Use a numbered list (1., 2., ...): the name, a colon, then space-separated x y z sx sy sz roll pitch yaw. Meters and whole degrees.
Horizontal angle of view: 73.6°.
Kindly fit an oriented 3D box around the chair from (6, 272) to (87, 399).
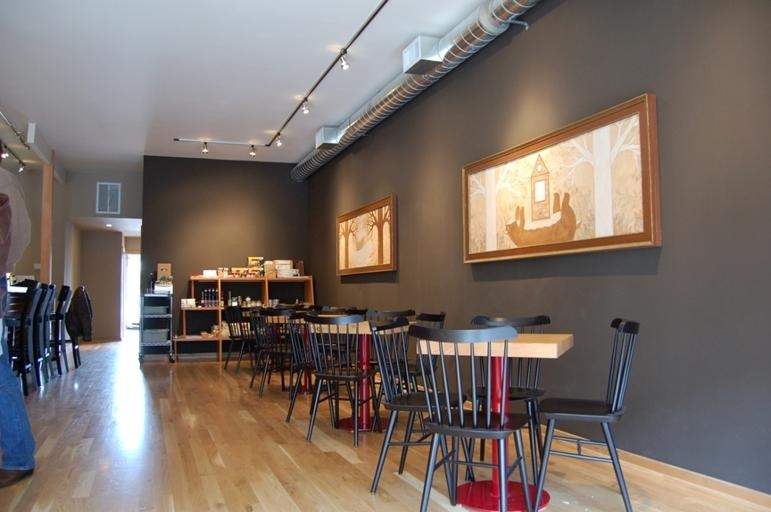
1. chair: -5.090 1.209 7.748 0.538 1.089 1.635 2 -4 -12

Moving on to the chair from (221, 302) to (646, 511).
1. chair: 0.641 1.207 4.344 1.663 1.345 2.117 -1 -4 -6

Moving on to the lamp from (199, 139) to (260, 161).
1. lamp: -2.808 -2.042 9.530 1.306 0.233 0.323 1 -21 -15

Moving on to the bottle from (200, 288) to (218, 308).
1. bottle: -3.437 0.804 10.003 0.302 0.353 0.109 3 -12 -22

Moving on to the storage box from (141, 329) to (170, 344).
1. storage box: -4.203 1.465 9.406 0.457 0.291 0.165 1 -4 -27
